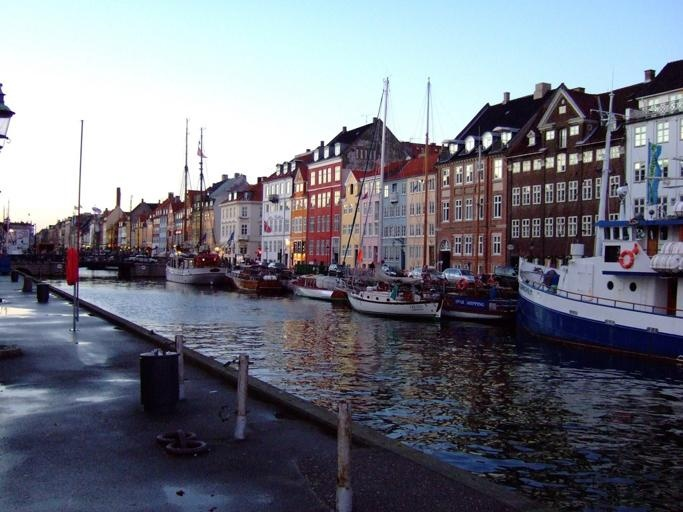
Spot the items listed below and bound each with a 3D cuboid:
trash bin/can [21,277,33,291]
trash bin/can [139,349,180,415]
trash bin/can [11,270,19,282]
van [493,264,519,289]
[{"bbox_3d":[-24.876,2.248,56.663,0.886,1.530,0.906,1,-4,-28],"label":"trash bin/can"},{"bbox_3d":[-3.873,2.696,15.448,0.805,1.403,0.812,1,0,-32],"label":"trash bin/can"},{"bbox_3d":[-33.680,2.096,73.752,0.874,1.428,0.902,0,-10,-15],"label":"trash bin/can"},{"bbox_3d":[12.442,1.598,53.890,1.364,1.182,2.320,0,-2,-26],"label":"van"}]
